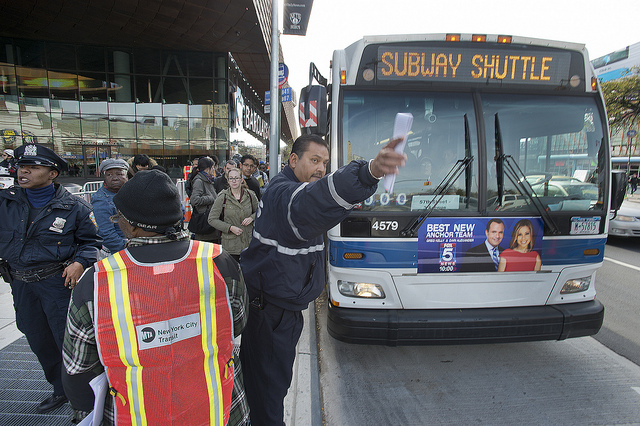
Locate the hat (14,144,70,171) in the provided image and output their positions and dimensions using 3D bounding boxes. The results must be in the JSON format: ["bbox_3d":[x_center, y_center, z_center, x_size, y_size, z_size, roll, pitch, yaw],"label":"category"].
[{"bbox_3d":[-3.361,-0.617,5.416,0.540,0.243,0.577,-2,-9,39],"label":"hat"}]

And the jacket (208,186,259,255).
[{"bbox_3d":[-1.302,0.144,6.819,1.041,1.196,0.661,-1,-2,-30],"label":"jacket"}]

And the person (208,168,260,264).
[{"bbox_3d":[-1.376,0.442,7.498,0.888,2.246,0.610,-6,23,-18],"label":"person"}]

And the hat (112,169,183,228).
[{"bbox_3d":[-1.661,-0.127,4.387,0.848,0.583,0.660,4,-2,37],"label":"hat"}]

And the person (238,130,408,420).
[{"bbox_3d":[-0.186,0.753,4.778,1.458,3.052,0.755,1,10,7],"label":"person"}]

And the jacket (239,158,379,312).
[{"bbox_3d":[-0.179,0.283,4.687,1.468,1.678,0.506,6,12,31],"label":"jacket"}]

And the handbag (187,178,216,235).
[{"bbox_3d":[-2.171,-0.005,7.952,0.410,0.727,0.712,7,2,-6],"label":"handbag"}]

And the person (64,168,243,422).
[{"bbox_3d":[-1.494,0.836,4.088,1.506,2.370,0.561,1,10,2],"label":"person"}]

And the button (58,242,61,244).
[{"bbox_3d":[-3.065,0.373,5.299,0.023,0.018,0.027,-2,2,-1],"label":"button"}]

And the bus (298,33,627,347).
[{"bbox_3d":[1.862,-1.213,10.649,4.443,4.875,10.529,1,12,1],"label":"bus"}]

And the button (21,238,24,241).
[{"bbox_3d":[-3.435,0.326,5.214,0.028,0.029,0.005,1,10,3],"label":"button"}]

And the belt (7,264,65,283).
[{"bbox_3d":[-3.332,0.731,5.278,0.622,0.193,0.093,-1,10,-7],"label":"belt"}]
